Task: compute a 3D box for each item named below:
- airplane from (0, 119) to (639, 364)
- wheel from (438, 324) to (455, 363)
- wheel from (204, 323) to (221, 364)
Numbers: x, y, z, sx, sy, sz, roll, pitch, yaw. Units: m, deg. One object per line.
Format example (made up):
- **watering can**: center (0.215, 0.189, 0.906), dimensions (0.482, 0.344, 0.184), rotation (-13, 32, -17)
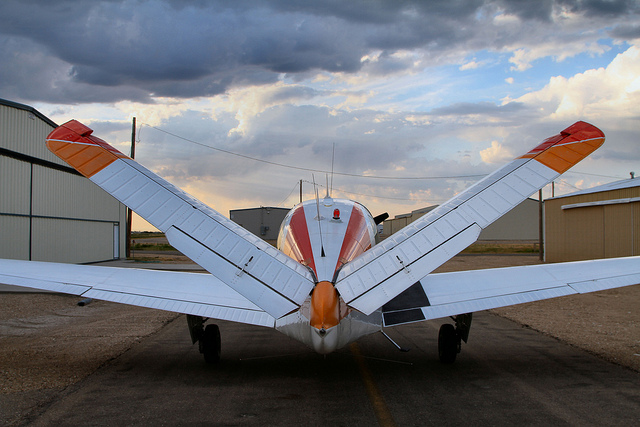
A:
- **airplane**: center (0.168, 0.802, 10.034), dimensions (10.522, 4.913, 3.863), rotation (-1, 7, -10)
- **wheel**: center (2.607, 2.693, 11.120), dimensions (0.312, 0.823, 0.854), rotation (0, -1, -1)
- **wheel**: center (-2.203, 2.581, 11.285), dimensions (0.238, 0.589, 0.619), rotation (3, -18, -5)
